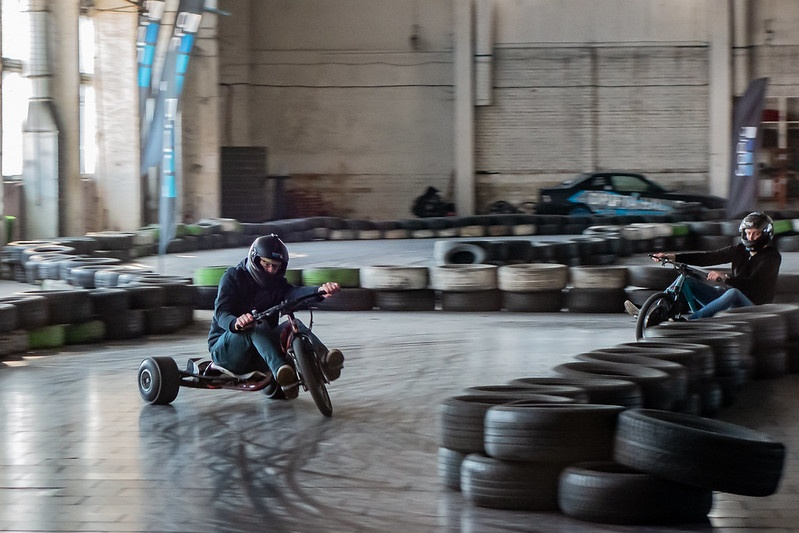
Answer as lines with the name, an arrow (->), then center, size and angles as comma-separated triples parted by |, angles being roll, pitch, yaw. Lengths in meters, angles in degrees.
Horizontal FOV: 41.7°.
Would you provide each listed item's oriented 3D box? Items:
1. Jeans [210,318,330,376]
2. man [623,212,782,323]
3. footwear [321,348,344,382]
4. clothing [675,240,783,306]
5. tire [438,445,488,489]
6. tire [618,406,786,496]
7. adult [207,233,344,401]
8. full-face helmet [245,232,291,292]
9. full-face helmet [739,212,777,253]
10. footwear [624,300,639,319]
Jeans -> -1.031, 0.648, 8.443 | 1.131, 0.288, 0.663 | -2, 6, 27
man -> 2.805, 0.067, 9.726 | 1.768, 0.763, 0.947 | -10, 13, -9
footwear -> -0.521, 0.768, 8.223 | 0.135, 0.270, 0.140 | -6, 30, -18
clothing -> 3.038, 0.030, 9.832 | 0.871, 0.440, 0.825 | -4, 17, -5
tire -> 0.435, 1.338, 7.048 | 0.352, 0.209, 0.286 | 5, 2, 10
tire -> 1.878, 1.170, 6.483 | 0.902, 0.233, 0.745 | 5, 0, -24
adult -> -1.097, 0.378, 8.357 | 0.882, 0.787, 1.339 | -14, 21, -40
full-face helmet -> -1.023, -0.053, 8.371 | 0.326, 0.415, 0.342 | -5, 7, -30
full-face helmet -> 3.305, -0.325, 9.685 | 0.264, 0.360, 0.288 | 0, 6, 12
footwear -> 2.330, 0.417, 10.494 | 0.164, 0.110, 0.366 | 26, -1, 10
